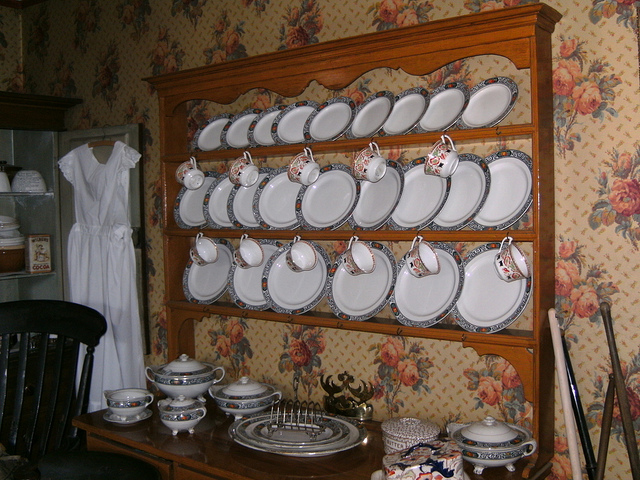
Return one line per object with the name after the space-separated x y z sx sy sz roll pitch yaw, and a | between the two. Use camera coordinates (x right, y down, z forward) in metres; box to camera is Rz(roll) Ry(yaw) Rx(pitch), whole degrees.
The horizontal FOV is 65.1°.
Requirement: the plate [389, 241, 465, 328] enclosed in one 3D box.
0.351 0.146 1.851 0.289 0.316 0.041 -7 -18 37 | plate

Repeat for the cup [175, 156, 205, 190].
-0.607 -0.297 2.374 0.120 0.148 0.105 2 26 -48 | cup

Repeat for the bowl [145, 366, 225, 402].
-0.637 0.681 2.343 0.366 0.173 0.261 0 -9 -10 | bowl

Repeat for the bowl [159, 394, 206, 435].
-0.579 0.720 2.112 0.156 0.124 0.147 3 -1 0 | bowl

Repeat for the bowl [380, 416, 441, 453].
0.335 0.763 1.929 0.201 0.114 0.211 2 -3 0 | bowl

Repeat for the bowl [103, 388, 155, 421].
-0.876 0.755 2.279 0.218 0.121 0.180 1 0 -2 | bowl

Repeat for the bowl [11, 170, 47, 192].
-1.853 -0.369 3.175 0.146 0.117 0.152 1 0 0 | bowl

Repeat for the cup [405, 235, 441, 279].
0.384 0.072 1.860 0.067 0.168 0.110 -19 -20 26 | cup

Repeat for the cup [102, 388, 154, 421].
-0.869 0.750 2.277 0.219 0.122 0.184 0 1 1 | cup

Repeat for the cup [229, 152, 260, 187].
-0.339 -0.306 2.245 0.123 0.143 0.093 -10 36 -45 | cup

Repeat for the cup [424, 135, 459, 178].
0.435 -0.297 1.825 0.071 0.154 0.109 13 28 28 | cup

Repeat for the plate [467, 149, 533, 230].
0.689 -0.190 1.853 0.261 0.282 0.038 -13 -20 43 | plate

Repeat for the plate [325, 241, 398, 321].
0.177 0.186 2.067 0.291 0.316 0.041 6 -9 33 | plate

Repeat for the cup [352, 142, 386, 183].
0.185 -0.289 1.927 0.121 0.152 0.101 -18 29 -36 | cup

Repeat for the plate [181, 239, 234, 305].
-0.552 0.144 2.438 0.270 0.296 0.040 -19 -26 31 | plate

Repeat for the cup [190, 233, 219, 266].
-0.554 0.043 2.350 0.112 0.149 0.140 4 -3 -35 | cup

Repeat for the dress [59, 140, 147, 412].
-1.201 0.231 2.796 0.560 1.509 0.248 1 -2 21 | dress

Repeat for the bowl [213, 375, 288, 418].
-0.330 0.714 2.336 0.330 0.185 0.385 3 -3 -10 | bowl

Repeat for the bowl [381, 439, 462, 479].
0.327 0.704 1.609 0.242 0.091 0.176 2 -3 5 | bowl

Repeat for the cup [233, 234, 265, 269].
-0.332 0.050 2.231 0.116 0.151 0.125 2 -2 0 | cup

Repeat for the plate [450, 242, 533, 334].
0.617 0.186 1.866 0.280 0.314 0.041 -12 -16 40 | plate

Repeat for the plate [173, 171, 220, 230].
-0.618 -0.180 2.513 0.257 0.279 0.036 -11 -12 34 | plate

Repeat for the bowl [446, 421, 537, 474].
0.638 0.751 1.761 0.291 0.132 0.157 4 -3 -29 | bowl

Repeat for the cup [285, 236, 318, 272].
-0.076 0.068 2.092 0.103 0.162 0.070 9 -25 -37 | cup

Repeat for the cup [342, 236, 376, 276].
0.153 0.067 2.032 0.117 0.158 0.164 2 -2 -3 | cup

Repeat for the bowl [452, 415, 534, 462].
0.615 0.702 1.799 0.273 0.121 0.206 2 -3 17 | bowl

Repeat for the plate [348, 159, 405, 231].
0.237 -0.167 2.051 0.039 0.278 0.262 21 -35 -40 | plate

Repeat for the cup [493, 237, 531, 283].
0.663 0.077 1.754 0.073 0.162 0.109 -11 -2 15 | cup

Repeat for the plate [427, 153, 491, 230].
0.556 -0.178 1.911 0.261 0.278 0.037 -21 -31 39 | plate

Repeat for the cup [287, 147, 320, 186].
-0.058 -0.310 2.105 0.122 0.106 0.148 -33 -23 -29 | cup
